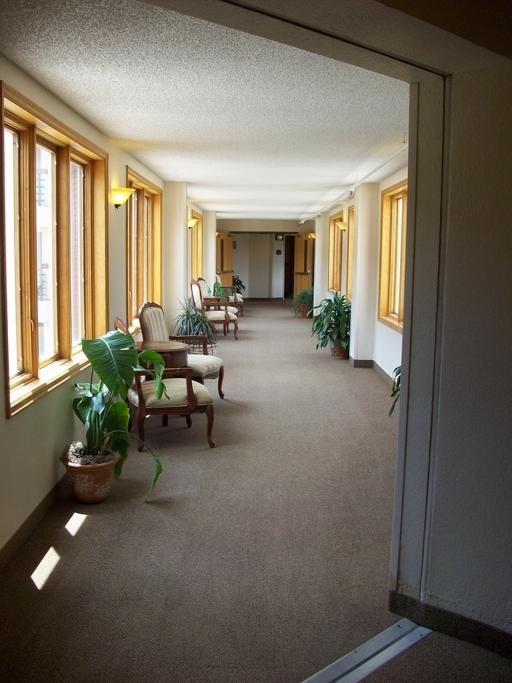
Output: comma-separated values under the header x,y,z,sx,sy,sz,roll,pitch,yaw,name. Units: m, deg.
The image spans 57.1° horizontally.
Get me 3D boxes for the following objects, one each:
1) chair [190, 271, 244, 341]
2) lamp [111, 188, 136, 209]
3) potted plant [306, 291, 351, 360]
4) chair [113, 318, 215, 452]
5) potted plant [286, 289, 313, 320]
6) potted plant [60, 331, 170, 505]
x,y,z,sx,sy,sz,roll,pitch,yaw,name
-0.878,-0.656,9.756,1.204,1.742,1.241,0,13,-1,chair
-1.292,-1.352,4.429,0.229,0.195,0.234,2,11,16,lamp
1.347,-0.310,8.377,1.038,1.153,0.927,4,8,37,potted plant
-0.595,0.247,4.087,0.969,1.396,0.907,-1,10,-7,chair
1.251,-1.081,13.623,0.720,0.755,0.734,-3,16,-8,potted plant
-0.888,0.431,2.983,0.607,1.011,1.032,1,2,-11,potted plant
